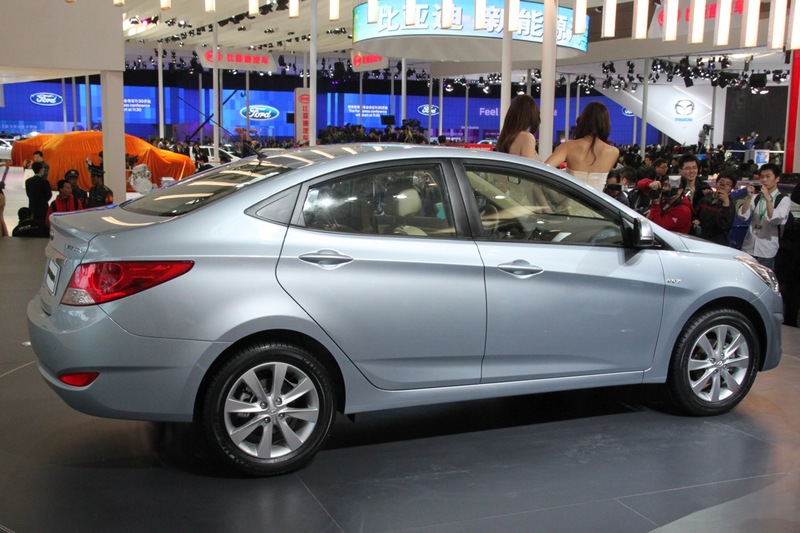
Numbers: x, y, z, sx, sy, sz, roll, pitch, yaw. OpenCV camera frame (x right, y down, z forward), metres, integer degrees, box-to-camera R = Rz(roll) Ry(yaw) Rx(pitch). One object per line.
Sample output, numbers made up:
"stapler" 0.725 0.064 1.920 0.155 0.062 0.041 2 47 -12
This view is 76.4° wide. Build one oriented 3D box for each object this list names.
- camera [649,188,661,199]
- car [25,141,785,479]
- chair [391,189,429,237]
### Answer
"camera" 3.284 -0.939 6.567 0.119 0.129 0.120 -10 3 25
"car" 0.087 0.287 3.973 4.479 1.703 2.227 -4 5 -18
"chair" 0.076 -0.362 3.368 0.212 0.301 0.291 3 25 16
